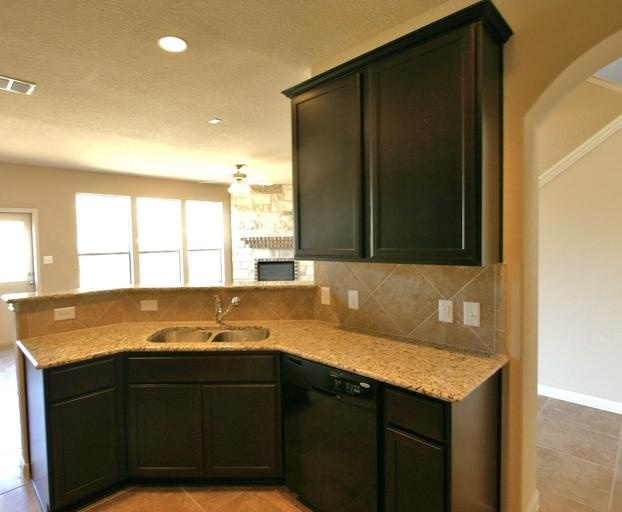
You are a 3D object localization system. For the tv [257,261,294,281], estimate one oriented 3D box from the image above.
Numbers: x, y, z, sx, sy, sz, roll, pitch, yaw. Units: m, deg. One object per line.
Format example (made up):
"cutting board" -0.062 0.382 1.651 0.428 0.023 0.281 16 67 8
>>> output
"tv" -0.665 0.278 9.473 0.723 0.402 0.261 -3 12 -7

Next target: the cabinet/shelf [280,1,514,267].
"cabinet/shelf" 0.587 -0.793 3.176 1.686 1.346 0.492 -5 -8 43

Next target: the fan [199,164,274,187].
"fan" -1.061 -1.231 7.780 0.690 0.178 0.742 5 7 31

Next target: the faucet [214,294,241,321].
"faucet" -0.655 0.424 3.980 0.211 0.212 0.140 -4 12 -10

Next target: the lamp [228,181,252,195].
"lamp" -0.973 -0.934 6.812 0.435 0.112 0.451 1 0 -5
